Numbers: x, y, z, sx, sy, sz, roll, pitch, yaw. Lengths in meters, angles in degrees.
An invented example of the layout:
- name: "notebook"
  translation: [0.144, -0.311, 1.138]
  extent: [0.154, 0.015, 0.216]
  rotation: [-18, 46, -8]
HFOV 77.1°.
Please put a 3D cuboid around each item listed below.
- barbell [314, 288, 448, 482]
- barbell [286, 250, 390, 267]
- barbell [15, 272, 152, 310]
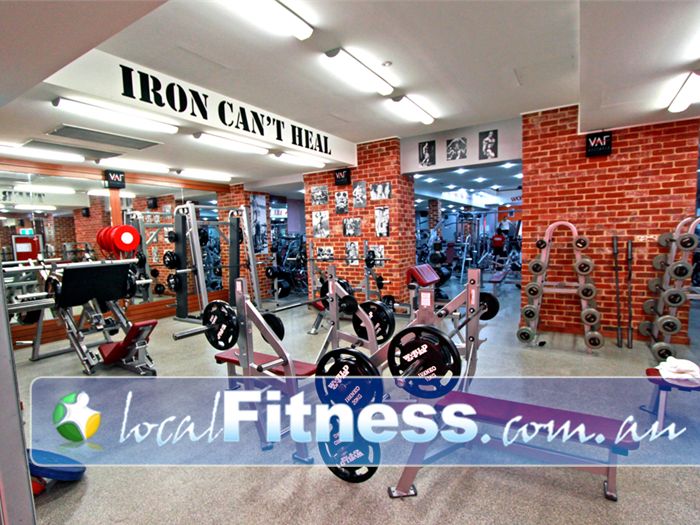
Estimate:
- name: "barbell"
  translation: [0.182, 0.727, 2.571]
  extent: [0.534, 0.992, 0.647]
  rotation: [8, 5, -35]
- name: "barbell"
  translation: [-0.015, -0.041, 5.732]
  extent: [1.129, 0.217, 0.404]
  rotation: [1, 7, 34]
- name: "barbell"
  translation: [-2.892, 0.319, 4.198]
  extent: [0.550, 0.333, 1.042]
  rotation: [6, 4, 26]
